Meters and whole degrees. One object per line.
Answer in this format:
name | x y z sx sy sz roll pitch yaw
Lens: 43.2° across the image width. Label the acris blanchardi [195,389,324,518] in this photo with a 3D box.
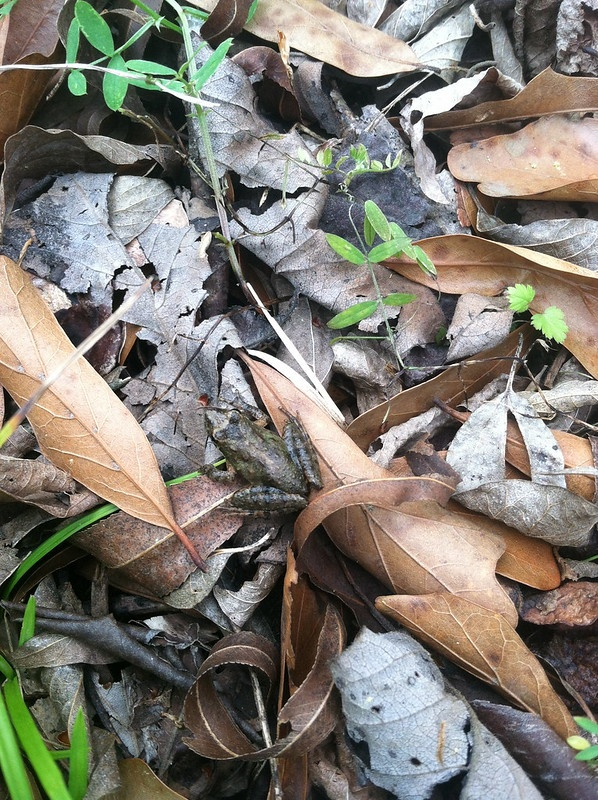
acris blanchardi | -0.155 0.201 2.738 0.377 0.325 0.461 -29 47 -7
